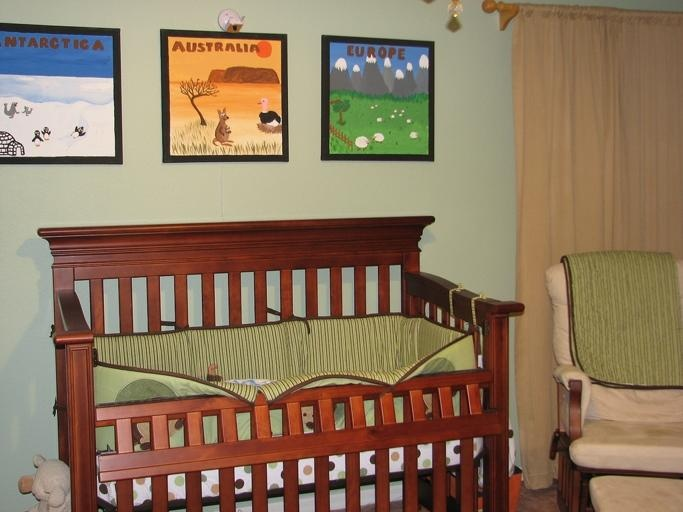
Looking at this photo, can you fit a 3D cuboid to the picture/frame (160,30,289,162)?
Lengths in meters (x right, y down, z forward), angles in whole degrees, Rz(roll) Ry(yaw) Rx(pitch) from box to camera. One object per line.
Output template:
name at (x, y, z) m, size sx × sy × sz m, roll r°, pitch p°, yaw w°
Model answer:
picture/frame at (-0.596, -0.791, 3.265) m, size 0.551 × 0.650 × 0.024 m, roll -1°, pitch 4°, yaw -11°
